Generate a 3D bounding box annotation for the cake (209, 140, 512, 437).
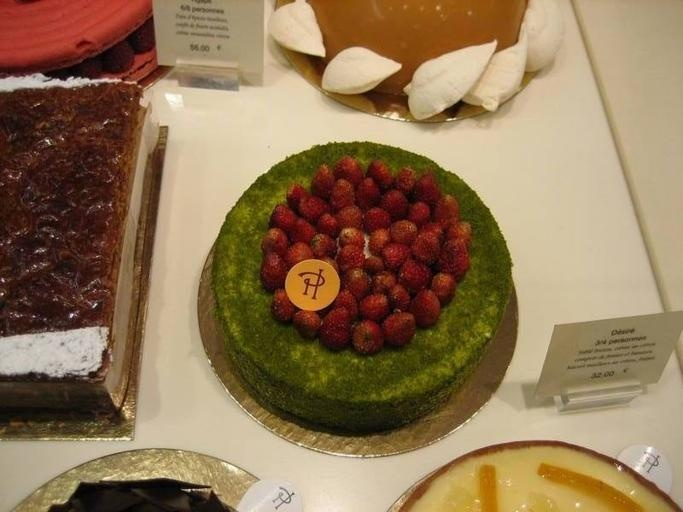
[{"bbox_3d":[0.076,0.099,2.000,1.060,0.316,0.970,2,66,-1],"label":"cake"}]
